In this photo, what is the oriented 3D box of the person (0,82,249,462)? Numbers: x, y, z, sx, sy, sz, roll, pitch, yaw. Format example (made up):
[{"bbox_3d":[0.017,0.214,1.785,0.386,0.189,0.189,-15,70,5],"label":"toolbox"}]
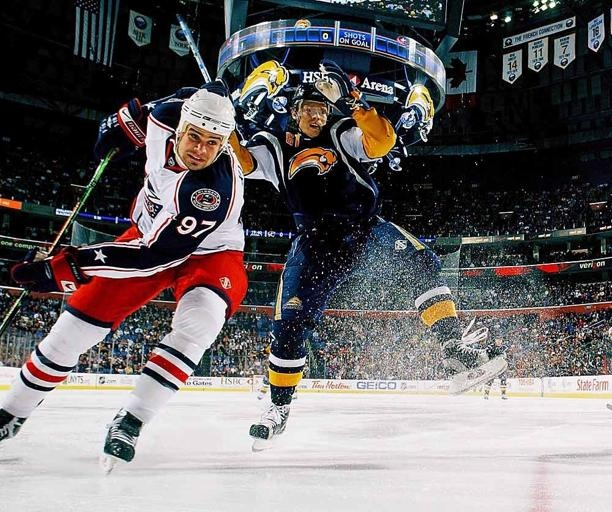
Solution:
[{"bbox_3d":[-0.979,0.068,3.895,1.314,2.074,0.527,-6,-10,-6],"label":"person"}]

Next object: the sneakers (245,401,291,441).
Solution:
[{"bbox_3d":[-0.236,1.123,4.736,0.155,0.223,0.506,10,-2,16],"label":"sneakers"}]

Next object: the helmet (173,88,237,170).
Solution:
[{"bbox_3d":[-0.610,-0.792,4.061,0.375,0.467,0.504,14,14,-22],"label":"helmet"}]

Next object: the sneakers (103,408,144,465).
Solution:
[{"bbox_3d":[-0.952,0.932,3.618,0.126,0.355,0.150,34,-55,-22],"label":"sneakers"}]

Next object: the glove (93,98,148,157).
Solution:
[{"bbox_3d":[-1.146,-0.869,4.324,0.407,0.278,0.163,-11,-48,27],"label":"glove"}]

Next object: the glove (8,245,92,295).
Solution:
[{"bbox_3d":[-1.466,0.058,3.824,0.363,0.170,0.369,-22,-35,-7],"label":"glove"}]
